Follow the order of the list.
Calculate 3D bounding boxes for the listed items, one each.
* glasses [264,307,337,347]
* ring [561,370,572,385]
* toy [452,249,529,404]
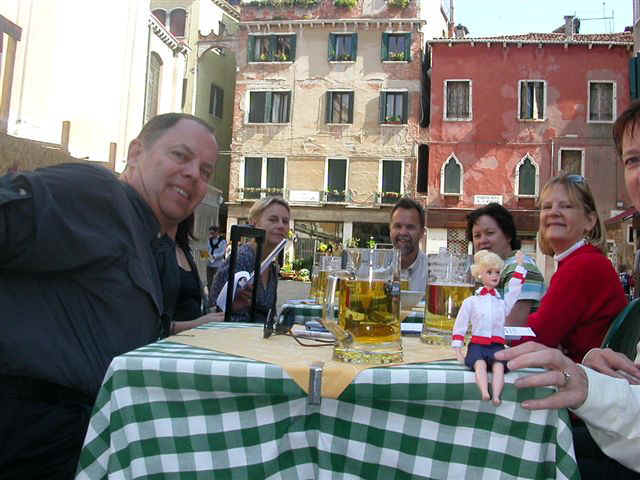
[{"bbox_3d":[-0.060,0.326,2.457,0.275,0.158,0.096,3,-12,11],"label":"glasses"},{"bbox_3d":[0.766,0.425,1.872,0.028,0.039,0.022,-21,40,-15],"label":"ring"},{"bbox_3d":[0.543,0.241,1.971,0.176,0.514,0.230,1,-35,11],"label":"toy"}]
